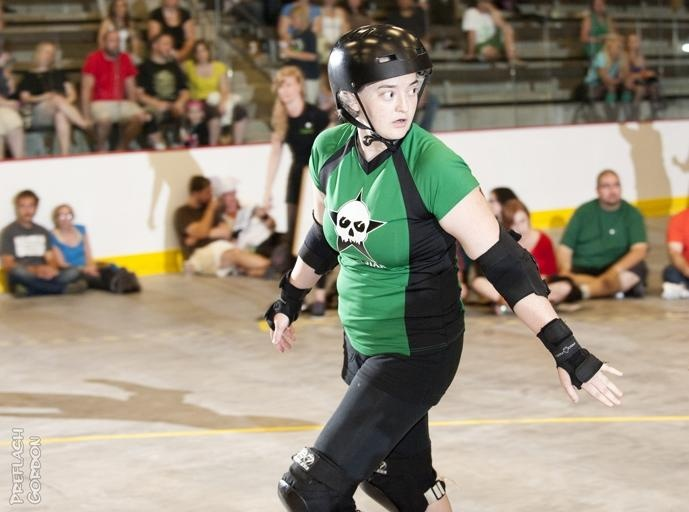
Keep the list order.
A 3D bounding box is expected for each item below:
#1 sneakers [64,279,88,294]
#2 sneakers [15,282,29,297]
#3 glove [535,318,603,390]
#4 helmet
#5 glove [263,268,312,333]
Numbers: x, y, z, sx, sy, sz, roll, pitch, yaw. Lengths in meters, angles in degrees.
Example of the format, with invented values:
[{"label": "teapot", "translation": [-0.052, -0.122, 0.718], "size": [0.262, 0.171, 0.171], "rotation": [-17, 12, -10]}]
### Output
[{"label": "sneakers", "translation": [-2.413, 0.262, 7.993], "size": [0.194, 0.083, 0.086], "rotation": [-25, 21, -31]}, {"label": "sneakers", "translation": [-2.864, 0.293, 7.893], "size": [0.122, 0.174, 0.096], "rotation": [-1, -11, -24]}, {"label": "glove", "translation": [0.867, 0.375, 3.463], "size": [0.225, 0.291, 0.087], "rotation": [-41, -3, -1]}, {"label": "helmet", "translation": [0.177, -0.783, 3.640], "size": [0.363, 0.335, 0.292], "rotation": [-4, 4, 38]}, {"label": "glove", "translation": [-0.259, 0.211, 4.124], "size": [0.124, 0.287, 0.175], "rotation": [38, 6, -2]}]
